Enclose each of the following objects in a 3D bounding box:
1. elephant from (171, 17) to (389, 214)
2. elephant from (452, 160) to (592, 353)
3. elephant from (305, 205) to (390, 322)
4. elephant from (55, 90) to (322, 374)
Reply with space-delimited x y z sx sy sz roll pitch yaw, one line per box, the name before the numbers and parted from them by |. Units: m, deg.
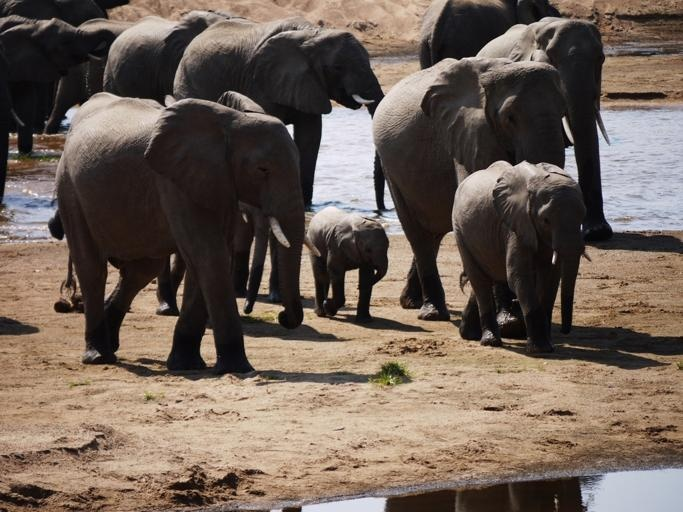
elephant | -0.680 -1.839 16.487 2.935 1.882 1.362 2 10 18
elephant | 1.805 0.015 12.630 1.036 1.718 2.203 1 -1 -18
elephant | 0.106 0.148 14.717 0.657 1.187 1.596 0 5 -28
elephant | -1.446 -0.165 12.476 2.963 2.444 1.518 1 -1 36
